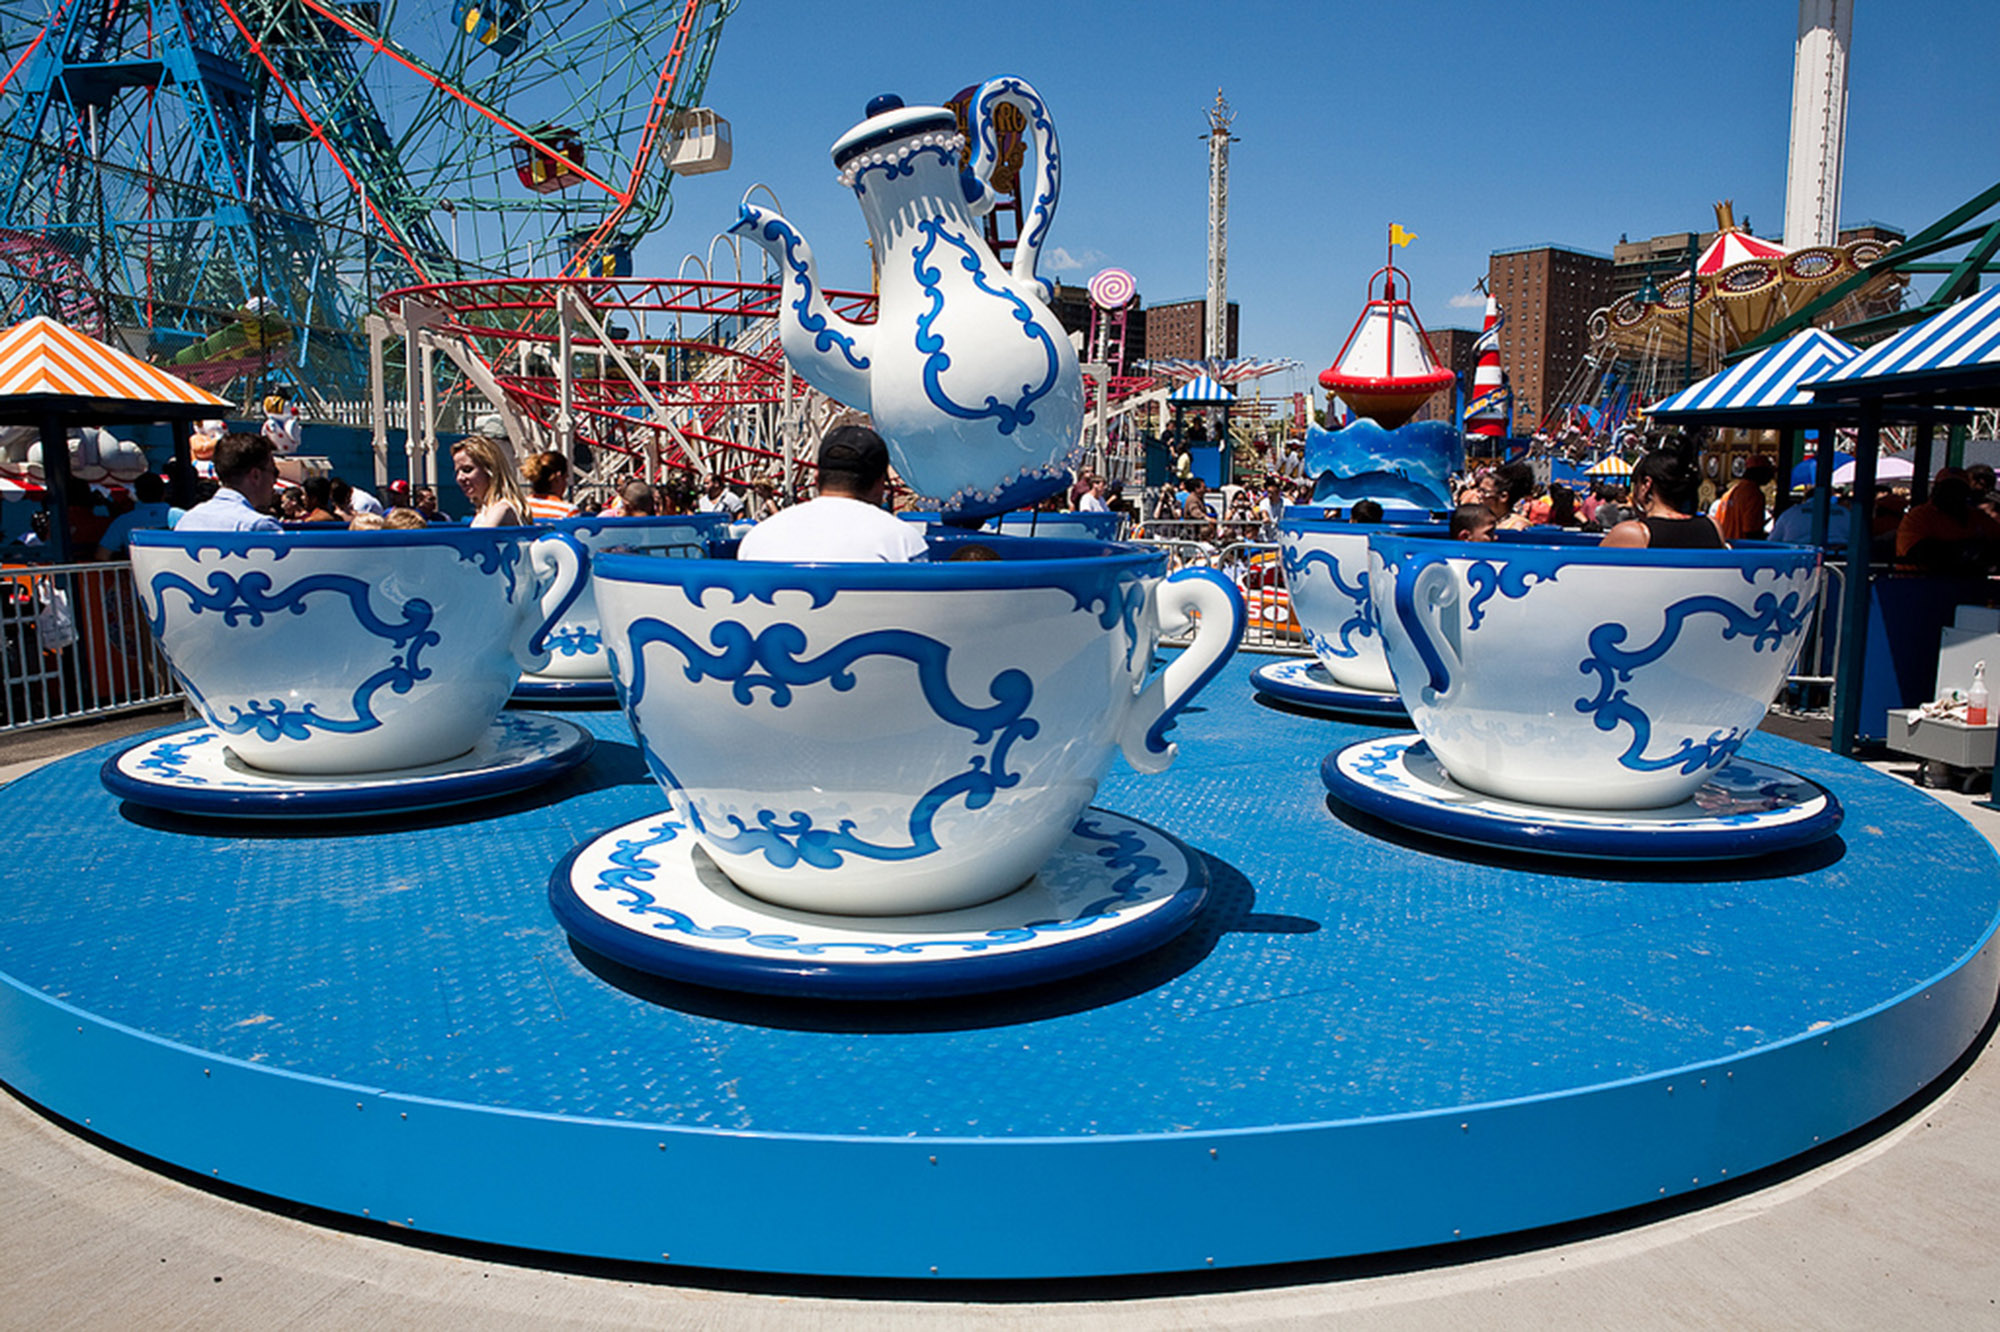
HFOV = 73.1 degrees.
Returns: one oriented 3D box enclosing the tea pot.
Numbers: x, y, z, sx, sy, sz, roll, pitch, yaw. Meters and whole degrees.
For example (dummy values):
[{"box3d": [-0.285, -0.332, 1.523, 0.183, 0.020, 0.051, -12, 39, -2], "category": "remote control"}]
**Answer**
[{"box3d": [-0.239, -1.158, 4.412, 1.012, 1.306, 0.666, 0, 12, -9], "category": "tea pot"}]
